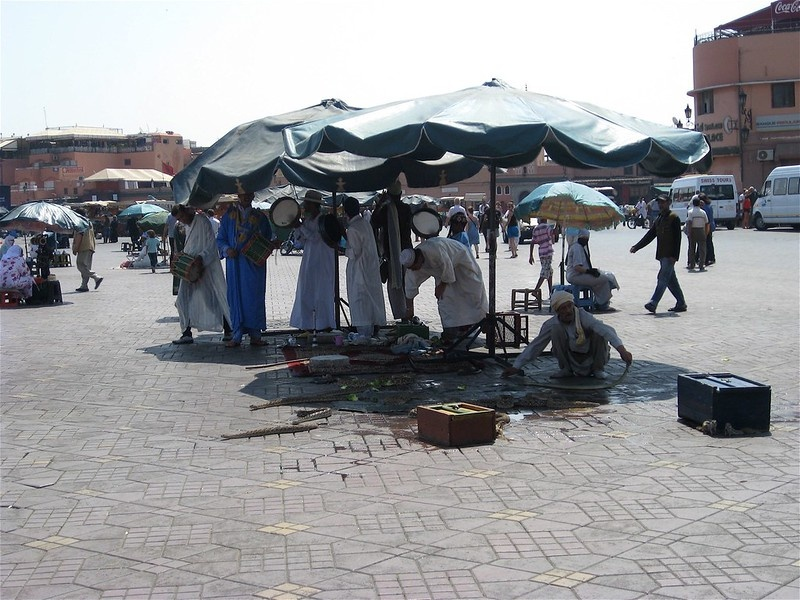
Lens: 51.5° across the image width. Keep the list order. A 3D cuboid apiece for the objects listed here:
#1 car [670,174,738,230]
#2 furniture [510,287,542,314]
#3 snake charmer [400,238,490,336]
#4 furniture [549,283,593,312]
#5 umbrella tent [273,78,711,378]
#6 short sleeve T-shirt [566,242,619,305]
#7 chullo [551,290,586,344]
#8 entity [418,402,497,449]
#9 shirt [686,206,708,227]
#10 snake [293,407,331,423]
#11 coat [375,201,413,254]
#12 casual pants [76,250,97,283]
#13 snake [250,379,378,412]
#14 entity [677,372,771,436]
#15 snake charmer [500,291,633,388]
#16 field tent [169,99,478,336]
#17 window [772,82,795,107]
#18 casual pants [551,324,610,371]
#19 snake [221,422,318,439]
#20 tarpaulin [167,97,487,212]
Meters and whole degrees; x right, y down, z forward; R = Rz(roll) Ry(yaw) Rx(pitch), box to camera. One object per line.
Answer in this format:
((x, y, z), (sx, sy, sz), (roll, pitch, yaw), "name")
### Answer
((14.057, -4.565, 38.950), (2.400, 2.067, 3.957), (-2, 5, -8), "car")
((2.262, 0.012, 14.850), (0.527, 0.490, 0.532), (-1, 0, 41), "furniture")
((0.515, -0.233, 10.117), (1.015, 1.080, 0.779), (-12, 0, -27), "snake charmer")
((2.928, -0.074, 13.720), (0.747, 0.536, 0.721), (-2, 1, -35), "furniture")
((1.201, -1.231, 10.506), (4.728, 2.915, 4.992), (4, 9, 27), "umbrella tent")
((3.318, -0.482, 14.286), (0.948, 1.182, 0.539), (1, 7, 1), "short sleeve T-shirt")
((1.783, 0.204, 8.750), (0.352, 0.564, 0.268), (-1, 7, 10), "chullo")
((0.491, 1.069, 7.181), (0.499, 0.261, 0.638), (-2, 1, -18), "entity")
((7.031, -1.957, 19.637), (0.576, 0.497, 0.304), (1, 18, 5), "shirt")
((-0.806, 1.072, 7.657), (0.336, 0.060, 0.365), (-2, 7, -3), "snake")
((-0.131, -1.054, 11.916), (0.576, 0.755, 0.287), (-6, 5, -43), "coat")
((-7.690, -0.806, 20.302), (0.601, 0.331, 1.124), (10, -25, -12), "casual pants")
((-0.883, 0.993, 8.360), (1.181, 0.041, 0.337), (-6, 26, -5), "snake")
((2.890, 0.926, 7.424), (0.565, 0.437, 0.761), (2, 4, -2), "entity")
((1.958, 0.388, 9.018), (1.464, 0.889, 0.814), (-1, -5, 33), "snake charmer")
((-0.847, -1.765, 12.175), (4.152, 2.235, 4.185), (-6, 12, -20), "field tent")
((23.372, -12.387, 51.077), (1.551, 1.667, 1.473), (-1, -3, 32), "window")
((1.981, 0.483, 9.128), (0.579, 0.702, 0.536), (-1, -2, 17), "casual pants")
((-1.116, 1.144, 7.276), (0.869, 0.055, 0.175), (-4, 7, -18), "snake")
((-1.336, -1.828, 11.195), (3.383, 0.983, 3.484), (-3, 0, 41), "tarpaulin")
